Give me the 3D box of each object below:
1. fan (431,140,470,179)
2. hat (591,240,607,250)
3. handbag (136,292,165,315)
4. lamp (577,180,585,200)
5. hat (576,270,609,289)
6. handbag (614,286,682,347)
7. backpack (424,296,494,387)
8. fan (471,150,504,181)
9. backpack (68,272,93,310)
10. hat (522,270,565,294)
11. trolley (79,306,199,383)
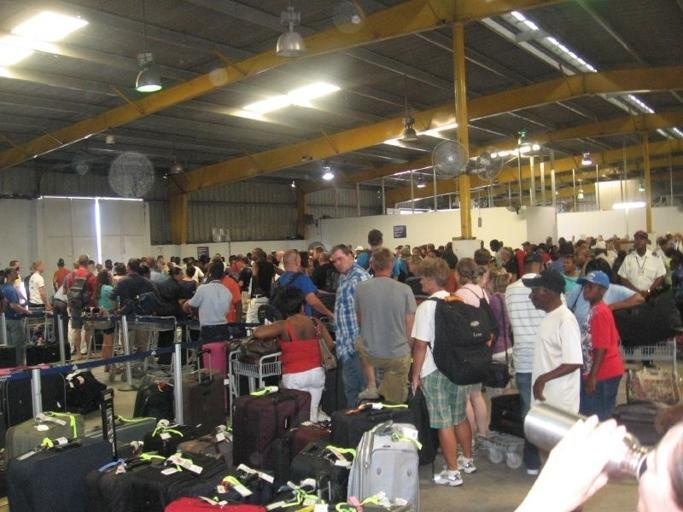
[{"bbox_3d":[1.767,-1.554,9.953,0.575,0.560,0.615,-3,11,16],"label":"fan"},{"bbox_3d":[6.405,-0.289,15.438,0.334,0.195,0.532,1,3,42],"label":"hat"},{"bbox_3d":[-2.793,0.678,9.074,0.322,0.320,0.334,-1,-1,-3],"label":"handbag"},{"bbox_3d":[12.206,-3.331,31.564,0.357,0.965,1.161,-2,1,22],"label":"lamp"},{"bbox_3d":[2.267,0.208,5.584,0.245,0.130,0.171,7,-4,-1],"label":"hat"},{"bbox_3d":[3.520,0.755,7.094,0.761,0.545,0.303,-11,-15,12],"label":"handbag"},{"bbox_3d":[1.121,0.753,5.505,0.685,0.772,0.427,-1,6,-44],"label":"backpack"},{"bbox_3d":[2.784,-1.776,11.761,0.413,0.576,1.814,-2,1,20],"label":"fan"},{"bbox_3d":[-4.436,0.557,10.771,0.453,0.543,0.579,0,11,6],"label":"backpack"},{"bbox_3d":[1.710,0.212,5.184,0.286,0.152,0.183,3,3,17],"label":"hat"},{"bbox_3d":[-2.699,1.057,8.246,1.713,0.729,1.135,2,5,35],"label":"trolley"}]
